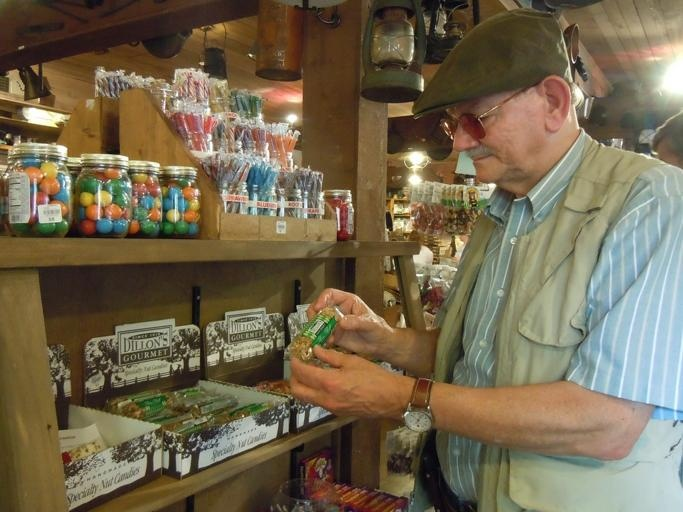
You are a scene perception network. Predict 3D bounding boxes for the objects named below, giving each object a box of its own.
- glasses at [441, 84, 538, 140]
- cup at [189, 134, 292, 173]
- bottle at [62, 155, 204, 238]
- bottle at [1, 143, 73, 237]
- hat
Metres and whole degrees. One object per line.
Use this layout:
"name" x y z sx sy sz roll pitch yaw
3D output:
"glasses" 0.486 -0.418 1.669 0.197 0.071 0.185 -29 13 -16
"cup" -0.335 -0.414 2.167 0.244 0.084 0.183 -1 1 15
"bottle" -0.613 -0.167 1.548 0.102 0.168 0.271 0 1 32
"bottle" -0.769 -0.166 1.350 0.155 0.236 0.078 -6 6 -29
"hat" 0.425 -0.561 1.583 0.398 0.208 0.299 -9 1 -5
